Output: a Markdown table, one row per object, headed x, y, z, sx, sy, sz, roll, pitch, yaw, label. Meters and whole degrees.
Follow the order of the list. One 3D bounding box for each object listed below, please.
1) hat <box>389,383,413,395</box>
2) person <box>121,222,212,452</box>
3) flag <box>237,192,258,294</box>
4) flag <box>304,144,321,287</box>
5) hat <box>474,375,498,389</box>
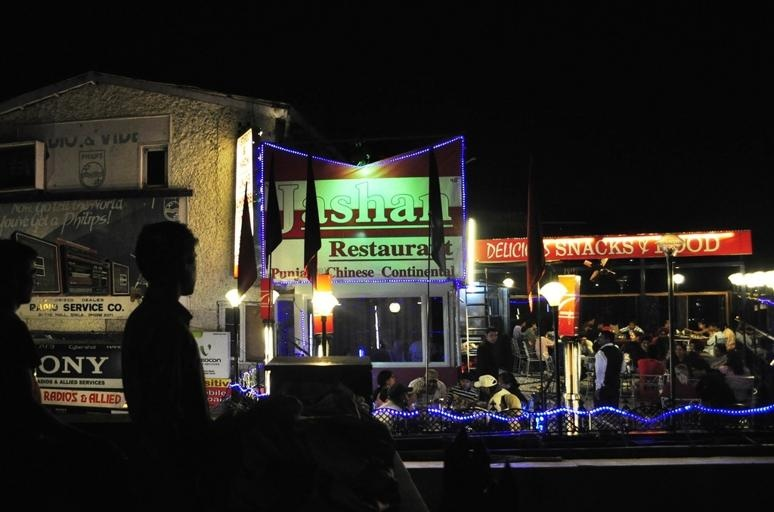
| x | y | z | sx | sy | sz | roll | pitch | yaw | label |
| --- | --- | --- | --- | --- | --- | --- | --- | --- | --- |
| 0.432 | 2.888 | 20.593 | 0.602 | 0.189 | 0.356 | 3 | -4 | -17 | hat |
| -3.565 | 1.298 | 15.436 | 1.261 | 3.655 | 0.397 | 0 | -4 | -14 | person |
| -3.516 | -0.234 | 23.981 | 0.457 | 2.463 | 1.031 | 0 | -3 | -8 | flag |
| -1.825 | -0.886 | 23.457 | 0.377 | 3.224 | 1.056 | 0 | -3 | -5 | flag |
| 2.319 | 3.067 | 22.852 | 0.459 | 0.146 | 0.304 | -5 | 25 | 23 | hat |
